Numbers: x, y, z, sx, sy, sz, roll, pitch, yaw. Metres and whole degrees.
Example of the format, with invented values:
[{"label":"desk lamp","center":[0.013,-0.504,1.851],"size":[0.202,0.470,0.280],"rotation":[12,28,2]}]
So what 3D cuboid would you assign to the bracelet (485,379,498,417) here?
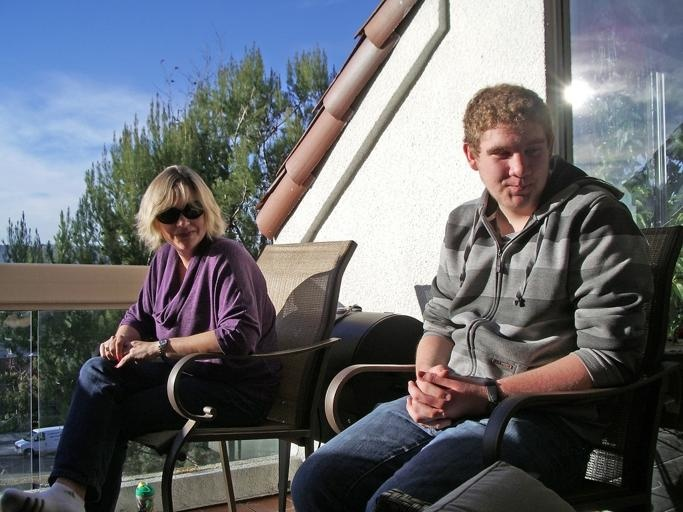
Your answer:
[{"label":"bracelet","center":[0.498,0.466,2.225],"size":[0.039,0.109,0.054],"rotation":[0,-2,-30]}]

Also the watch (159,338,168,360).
[{"label":"watch","center":[-0.749,0.386,2.831],"size":[0.043,0.076,0.072],"rotation":[1,1,0]}]
